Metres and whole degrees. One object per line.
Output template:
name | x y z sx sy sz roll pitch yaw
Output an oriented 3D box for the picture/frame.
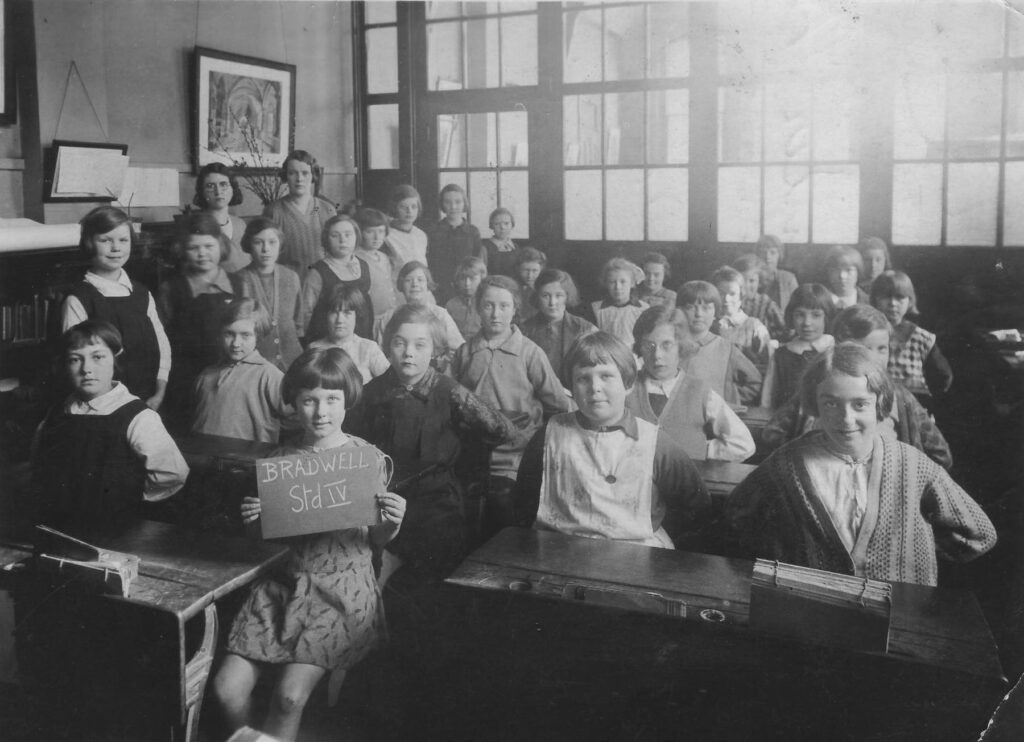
picture/frame | -1.230 -1.175 4.044 0.588 0.633 0.049 -4 15 -19
